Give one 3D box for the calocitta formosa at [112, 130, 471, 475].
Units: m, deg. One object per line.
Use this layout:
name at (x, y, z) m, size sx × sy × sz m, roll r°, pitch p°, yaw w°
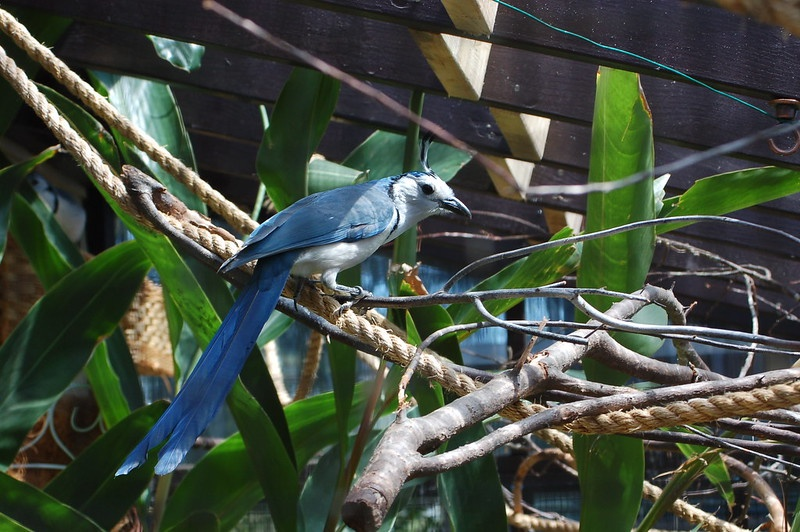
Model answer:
calocitta formosa at (-0.400, 0.037, 5.275) m, size 1.638 × 0.760 × 0.380 m, roll -22°, pitch 12°, yaw -40°
